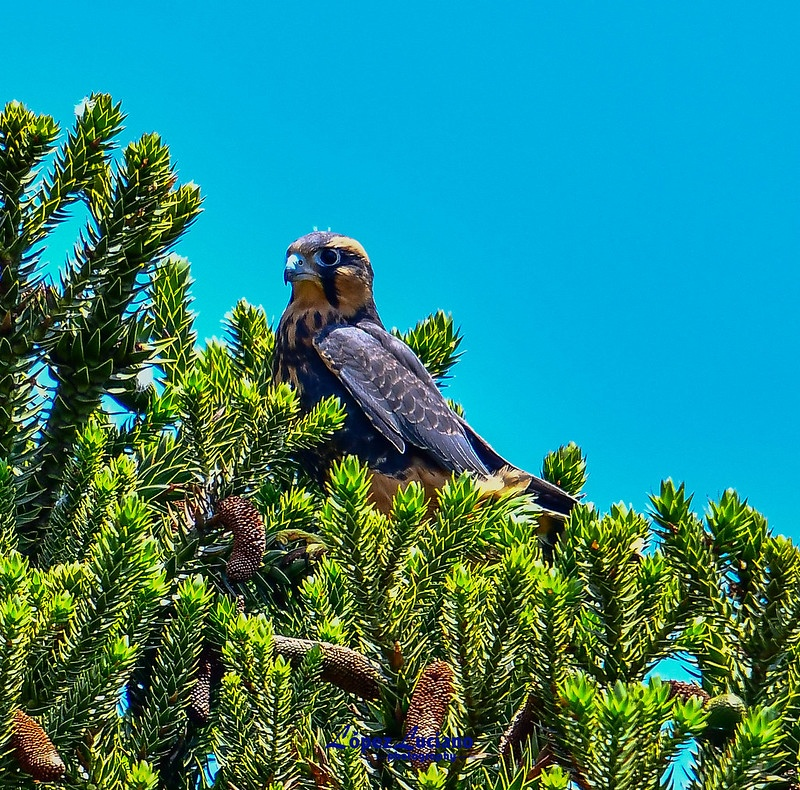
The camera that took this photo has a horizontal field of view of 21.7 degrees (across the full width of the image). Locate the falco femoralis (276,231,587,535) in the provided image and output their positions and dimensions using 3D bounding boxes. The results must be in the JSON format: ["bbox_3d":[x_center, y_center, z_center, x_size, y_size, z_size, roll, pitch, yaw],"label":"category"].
[{"bbox_3d":[0.048,-0.019,7.298,1.017,1.103,0.708,3,-7,-27],"label":"falco femoralis"}]

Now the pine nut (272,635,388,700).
[{"bbox_3d":[-0.151,0.585,4.451,0.204,0.075,0.050,24,15,-9],"label":"pine nut"}]

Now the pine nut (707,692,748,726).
[{"bbox_3d":[0.691,0.671,4.382,0.053,0.053,0.076,8,-28,-11],"label":"pine nut"}]

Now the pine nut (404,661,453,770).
[{"bbox_3d":[0.058,0.716,4.402,0.078,0.334,0.087,3,-1,-25],"label":"pine nut"}]

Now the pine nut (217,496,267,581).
[{"bbox_3d":[-0.370,0.330,4.877,0.087,0.213,0.091,2,1,1],"label":"pine nut"}]
